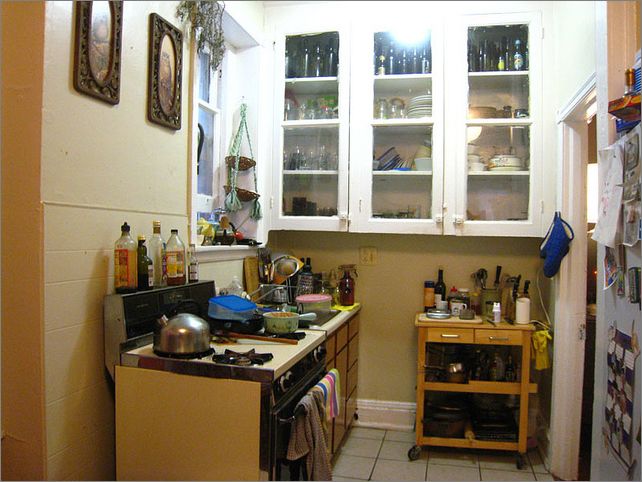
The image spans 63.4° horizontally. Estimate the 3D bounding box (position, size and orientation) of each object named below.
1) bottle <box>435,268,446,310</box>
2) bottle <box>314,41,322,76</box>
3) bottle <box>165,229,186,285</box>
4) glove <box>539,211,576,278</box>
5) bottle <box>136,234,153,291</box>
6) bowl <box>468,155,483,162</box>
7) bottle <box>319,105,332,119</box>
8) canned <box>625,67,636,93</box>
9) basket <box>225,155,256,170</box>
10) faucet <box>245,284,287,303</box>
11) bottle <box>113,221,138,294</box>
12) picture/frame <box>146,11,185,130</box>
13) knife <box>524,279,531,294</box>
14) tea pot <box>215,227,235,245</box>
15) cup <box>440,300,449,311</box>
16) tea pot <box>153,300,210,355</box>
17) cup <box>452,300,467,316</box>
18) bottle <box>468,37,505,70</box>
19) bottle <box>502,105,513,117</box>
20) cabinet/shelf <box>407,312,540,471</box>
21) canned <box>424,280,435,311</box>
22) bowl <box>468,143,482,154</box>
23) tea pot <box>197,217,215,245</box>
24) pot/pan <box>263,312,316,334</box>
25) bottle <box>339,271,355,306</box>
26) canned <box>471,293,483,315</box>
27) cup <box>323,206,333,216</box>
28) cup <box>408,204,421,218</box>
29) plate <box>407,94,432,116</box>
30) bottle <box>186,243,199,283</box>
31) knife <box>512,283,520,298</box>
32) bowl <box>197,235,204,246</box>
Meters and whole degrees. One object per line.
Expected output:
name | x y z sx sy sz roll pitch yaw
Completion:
bottle | 0.878 0.337 3.835 0.084 0.275 0.206 2 2 13
bottle | -0.024 -1.297 3.736 0.061 0.236 0.025 1 2 1
bottle | -0.767 0.082 2.737 0.100 0.283 0.087 0 2 -20
glove | 1.526 0.023 3.385 0.146 0.430 0.251 1 2 -6
bottle | -0.872 0.101 2.585 0.068 0.261 0.148 1 2 -12
bowl | 1.053 -0.568 3.576 0.061 0.032 0.047 0 1 6
bottle | 0.032 -0.927 3.741 0.099 0.100 0.026 1 -3 6
canned | 1.269 -0.652 2.129 0.035 0.104 0.041 2 2 31
basket | -0.562 -0.539 3.595 0.160 0.085 0.203 3 3 38
faucet | -0.340 0.348 3.474 0.247 0.134 0.271 1 2 -8
bottle | -0.929 0.080 2.477 0.105 0.322 0.067 0 2 -21
picture/frame | -0.830 -0.889 2.758 0.031 0.556 0.236 2 2 26
knife | 1.493 0.331 3.765 0.045 0.105 0.128 2 2 22
tea pot | -0.603 -0.028 3.254 0.143 0.102 0.065 -1 3 -43
cup | 0.882 0.460 3.742 0.048 0.057 0.059 0 -3 -15
tea pot | -0.638 0.402 2.494 0.219 0.222 0.247 -2 -8 22
cup | 0.963 0.470 3.652 0.105 0.108 0.072 1 1 34
bottle | 1.136 -1.272 3.552 0.243 0.219 0.029 1 2 6
bottle | 1.267 -0.881 3.548 0.070 0.081 0.015 1 2 -4
cabinet/shelf | 1.061 0.982 3.630 0.822 0.942 0.588 2 2 16
canned | 0.809 0.412 3.875 0.081 0.236 0.138 1 2 11
bowl | 1.053 -0.636 3.579 0.067 0.055 0.070 1 5 0
tea pot | -0.707 -0.059 3.236 0.131 0.148 0.127 0 -2 0
pot/pan | -0.175 0.434 2.827 0.209 0.079 0.122 5 -6 -36
bottle | 0.196 0.342 3.916 0.122 0.249 0.278 1 2 3
canned | 1.130 0.450 3.798 0.065 0.158 0.168 1 2 8
cup | 0.053 -0.215 3.714 0.085 0.067 0.049 2 10 6
cup | 0.660 -0.214 3.653 0.079 0.158 0.084 1 8 0
plate | 0.688 -0.931 3.631 0.144 0.114 0.151 2 4 17
bottle | -0.723 0.115 2.917 0.057 0.204 0.210 1 2 -15
knife | 1.361 0.339 3.645 0.036 0.100 0.134 2 2 16
bowl | -0.741 -0.013 3.183 0.050 0.062 0.050 1 2 0
